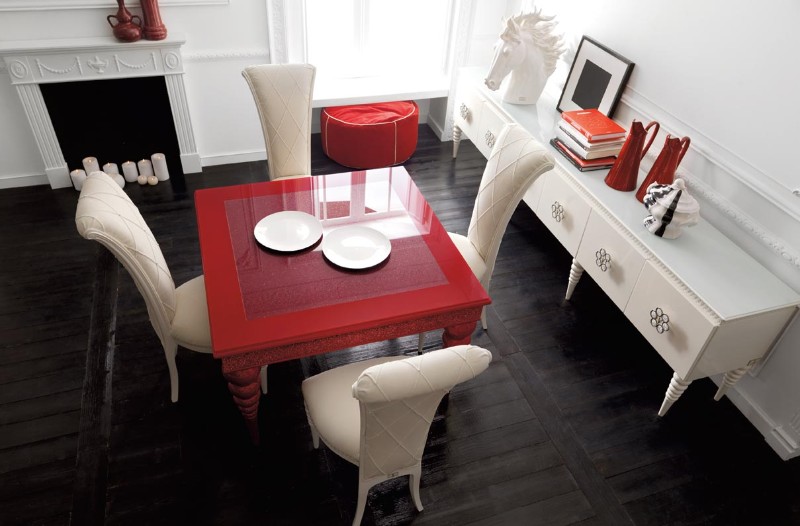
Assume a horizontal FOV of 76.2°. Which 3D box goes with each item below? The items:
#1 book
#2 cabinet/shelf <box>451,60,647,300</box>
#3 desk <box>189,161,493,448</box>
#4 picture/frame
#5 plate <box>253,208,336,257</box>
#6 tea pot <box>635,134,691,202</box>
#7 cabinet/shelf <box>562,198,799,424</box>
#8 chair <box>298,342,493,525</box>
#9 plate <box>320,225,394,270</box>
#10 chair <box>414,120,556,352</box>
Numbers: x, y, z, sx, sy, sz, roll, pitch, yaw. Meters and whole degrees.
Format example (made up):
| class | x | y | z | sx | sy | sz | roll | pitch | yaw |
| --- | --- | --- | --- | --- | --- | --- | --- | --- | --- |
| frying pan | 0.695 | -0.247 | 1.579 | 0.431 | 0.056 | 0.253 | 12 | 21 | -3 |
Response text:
| class | x | y | z | sx | sy | sz | roll | pitch | yaw |
| --- | --- | --- | --- | --- | --- | --- | --- | --- | --- |
| book | 1.308 | -0.863 | 3.571 | 0.440 | 0.205 | 0.448 | -16 | 50 | -13 |
| cabinet/shelf | 1.096 | -0.565 | 3.588 | 0.533 | 0.808 | 2.091 | -14 | 58 | -13 |
| desk | -0.381 | 0.491 | 3.216 | 1.525 | 0.943 | 1.543 | -16 | 54 | -17 |
| picture/frame | 1.460 | -1.394 | 3.804 | 0.044 | 0.597 | 0.556 | -5 | 36 | -32 |
| plate | -0.636 | -0.186 | 2.877 | 0.267 | 0.037 | 0.270 | -4 | 48 | -13 |
| tea pot | 1.618 | -0.577 | 3.205 | 0.191 | 0.426 | 0.249 | 19 | 42 | 22 |
| cabinet/shelf | 1.730 | 0.303 | 3.086 | 0.612 | 0.776 | 1.079 | -18 | 53 | -13 |
| chair | -0.030 | 0.931 | 2.624 | 0.566 | 0.942 | 0.721 | -7 | 48 | -16 |
| plate | -0.236 | -0.096 | 2.803 | 0.264 | 0.039 | 0.269 | -1 | 50 | -9 |
| chair | 0.612 | -0.142 | 3.462 | 1.068 | 1.540 | 0.844 | -12 | 51 | -11 |
